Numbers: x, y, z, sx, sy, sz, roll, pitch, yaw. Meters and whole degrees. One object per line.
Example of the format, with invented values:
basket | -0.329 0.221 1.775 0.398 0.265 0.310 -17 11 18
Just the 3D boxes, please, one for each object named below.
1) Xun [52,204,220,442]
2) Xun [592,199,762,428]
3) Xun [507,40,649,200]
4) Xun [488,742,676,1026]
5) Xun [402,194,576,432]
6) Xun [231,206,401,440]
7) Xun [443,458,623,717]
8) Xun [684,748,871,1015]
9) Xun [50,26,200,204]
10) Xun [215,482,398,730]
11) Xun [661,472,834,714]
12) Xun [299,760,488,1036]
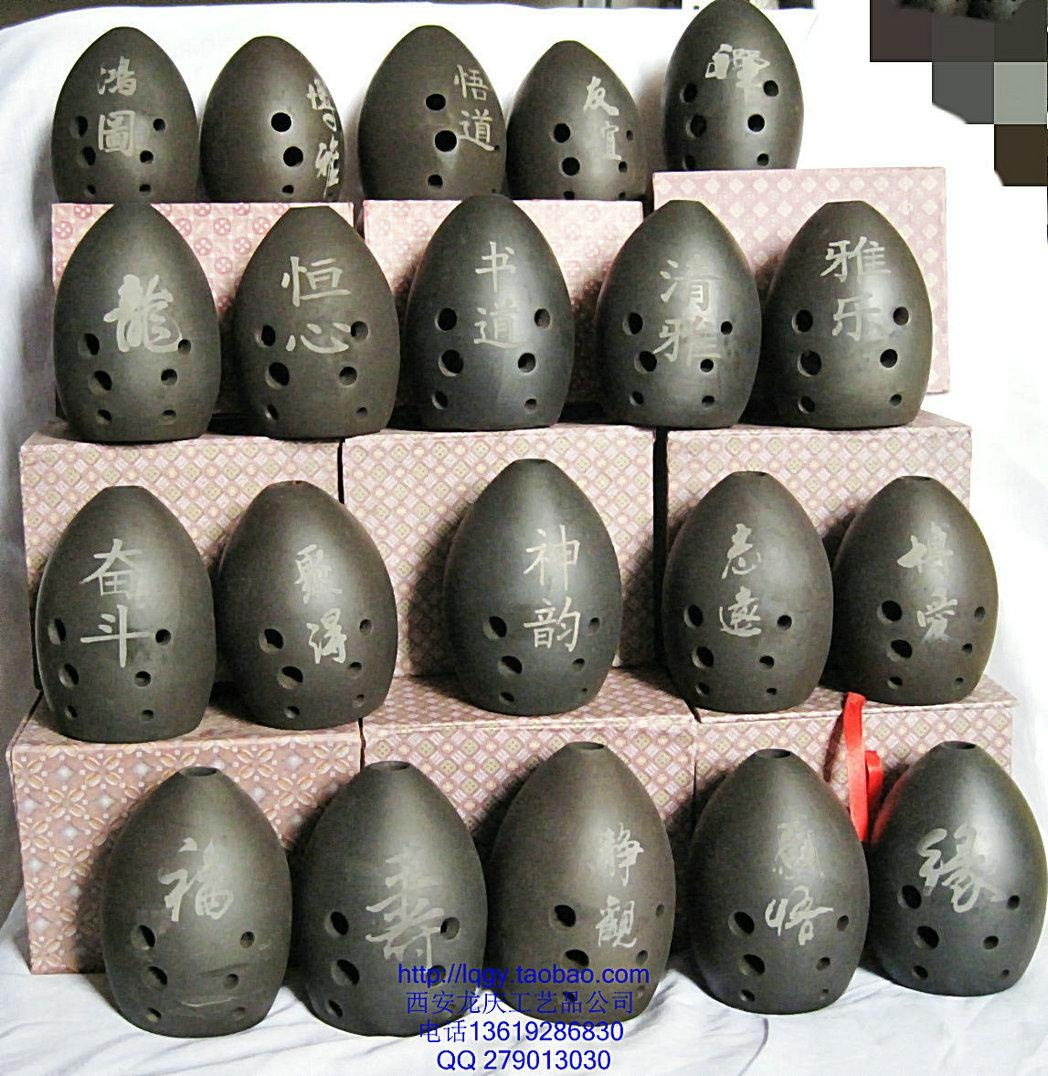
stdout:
Xun | -0.465 -0.267 1.443 0.152 0.287 0.156 -2 14 -32
Xun | 0.177 -0.264 1.608 0.211 0.409 0.233 1 4 -7
Xun | 0.080 -0.577 1.789 0.179 0.343 0.205 -6 18 6
Xun | 0.038 0.335 1.332 0.208 0.415 0.228 1 2 -9
Xun | -0.044 -0.241 1.558 0.205 0.393 0.233 -1 -15 2
Xun | -0.265 -0.268 1.493 0.156 0.294 0.171 11 15 34
Xun | -0.009 0.019 1.467 0.213 0.415 0.239 -1 10 -7
Xun | 0.256 0.339 1.312 0.197 0.383 0.223 0 -4 -2
Xun | -0.545 -0.565 1.606 0.201 0.226 0.141 -3 12 -14
Xun | -0.261 0.058 1.409 0.159 0.285 0.234 -12 22 -17
Xun | 0.234 0.038 1.488 0.199 0.398 0.231 -1 7 -2
Xun | -0.143 0.341 1.299 0.206 0.395 0.216 1 -3 -17
